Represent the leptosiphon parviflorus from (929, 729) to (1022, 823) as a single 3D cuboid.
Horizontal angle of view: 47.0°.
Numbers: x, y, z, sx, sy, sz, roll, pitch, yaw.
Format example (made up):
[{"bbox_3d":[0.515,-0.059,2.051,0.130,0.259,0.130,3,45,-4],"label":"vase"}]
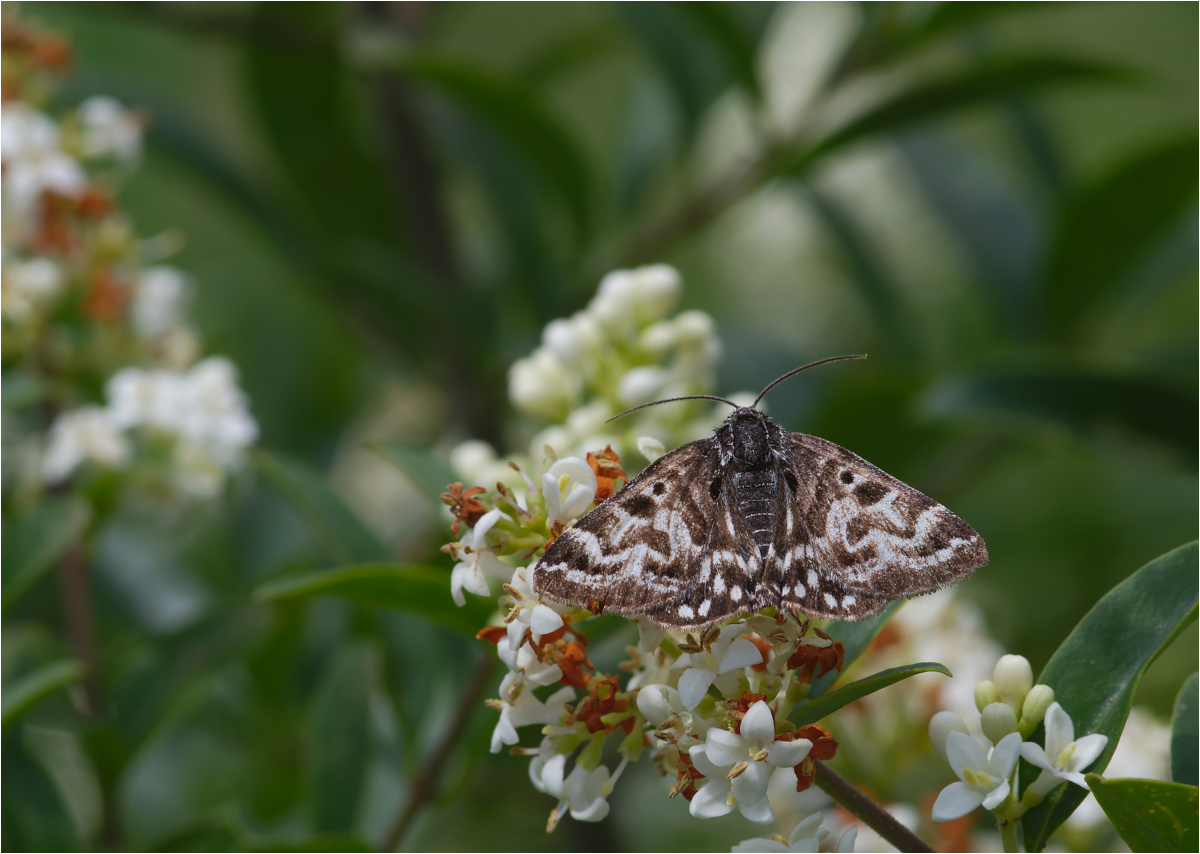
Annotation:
[{"bbox_3d":[0.743,0.668,2.800,0.172,0.176,0.096,2,0,-5],"label":"leptosiphon parviflorus"}]
